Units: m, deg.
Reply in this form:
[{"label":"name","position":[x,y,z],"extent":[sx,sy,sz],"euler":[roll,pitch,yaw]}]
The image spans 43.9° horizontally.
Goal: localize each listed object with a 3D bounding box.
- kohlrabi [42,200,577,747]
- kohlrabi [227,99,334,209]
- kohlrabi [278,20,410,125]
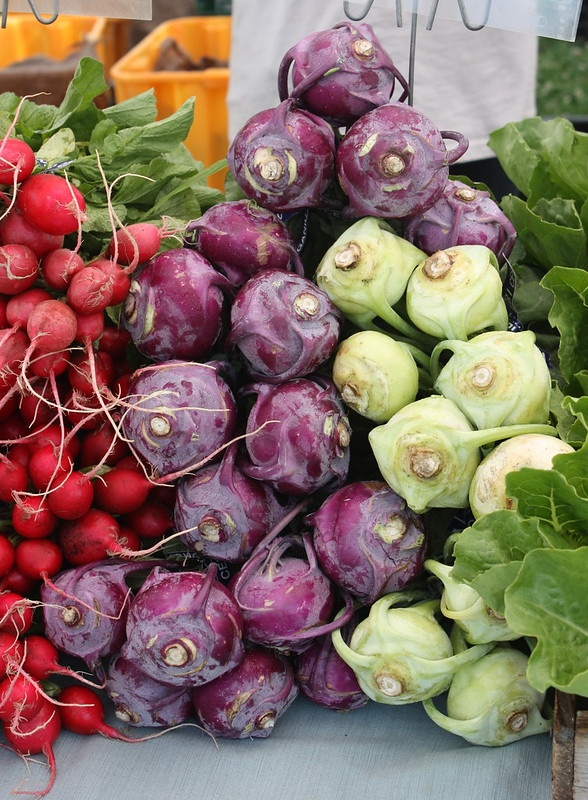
[{"label":"kohlrabi","position":[0.058,0.074,1.001],"extent":[0.554,0.632,0.349],"euler":[-2,-1,15]},{"label":"kohlrabi","position":[-0.021,-0.278,0.889],"extent":[0.118,0.126,0.128],"euler":[10,35,-7]},{"label":"kohlrabi","position":[0.078,-0.373,0.887],"extent":[0.121,0.099,0.106],"euler":[14,46,6]}]
